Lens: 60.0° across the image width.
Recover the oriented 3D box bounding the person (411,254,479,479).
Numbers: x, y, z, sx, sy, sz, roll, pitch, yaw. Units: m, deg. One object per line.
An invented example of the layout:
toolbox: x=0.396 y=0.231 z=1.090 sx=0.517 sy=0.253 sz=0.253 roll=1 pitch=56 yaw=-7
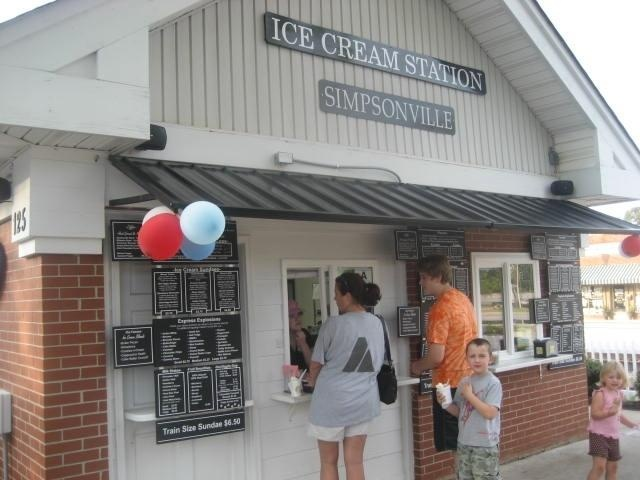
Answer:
person: x=1.422 y=1.309 z=6.269 sx=0.786 sy=2.383 sz=0.678 roll=-14 pitch=15 yaw=-36

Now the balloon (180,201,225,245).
balloon: x=-0.988 y=-0.135 z=4.708 sx=0.370 sy=0.464 sz=0.389 roll=-1 pitch=-26 yaw=-8

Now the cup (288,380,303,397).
cup: x=-0.292 y=1.718 z=6.526 sx=0.134 sy=0.215 sz=0.144 roll=-4 pitch=-6 yaw=0

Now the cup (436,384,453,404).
cup: x=1.179 y=1.454 z=5.279 sx=0.140 sy=0.188 sz=0.178 roll=-1 pitch=-8 yaw=-7

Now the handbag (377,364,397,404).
handbag: x=0.743 y=1.590 z=6.260 sx=0.256 sy=0.530 sz=0.414 roll=4 pitch=-21 yaw=6

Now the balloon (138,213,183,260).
balloon: x=-1.343 y=-0.044 z=4.713 sx=0.355 sy=0.385 sz=0.178 roll=-2 pitch=-7 yaw=-17
